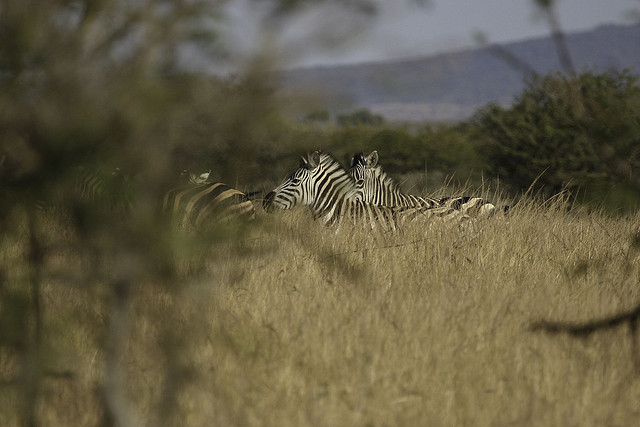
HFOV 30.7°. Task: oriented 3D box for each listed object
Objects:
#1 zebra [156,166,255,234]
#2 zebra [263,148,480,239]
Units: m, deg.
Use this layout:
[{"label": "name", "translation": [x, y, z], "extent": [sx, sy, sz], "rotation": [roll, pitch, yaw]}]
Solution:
[{"label": "zebra", "translation": [-0.833, -0.064, 8.263], "extent": [0.474, 0.343, 0.479], "rotation": [-4, 9, -23]}, {"label": "zebra", "translation": [0.125, -0.154, 9.108], "extent": [1.023, 0.273, 0.669], "rotation": [-2, 73, -14]}]
